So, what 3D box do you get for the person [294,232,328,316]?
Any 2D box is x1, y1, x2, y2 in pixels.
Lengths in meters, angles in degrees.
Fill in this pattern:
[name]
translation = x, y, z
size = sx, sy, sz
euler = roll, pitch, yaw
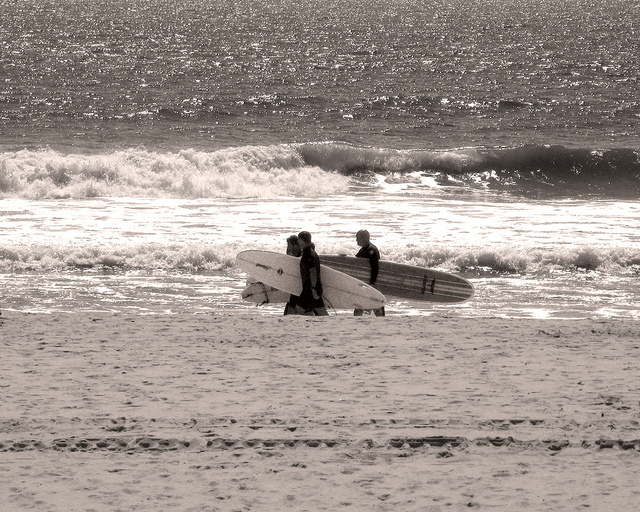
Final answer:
[person]
translation = -0.321, 0.461, 42.168
size = 0.817, 2.130, 0.370
euler = 1, 9, 0
